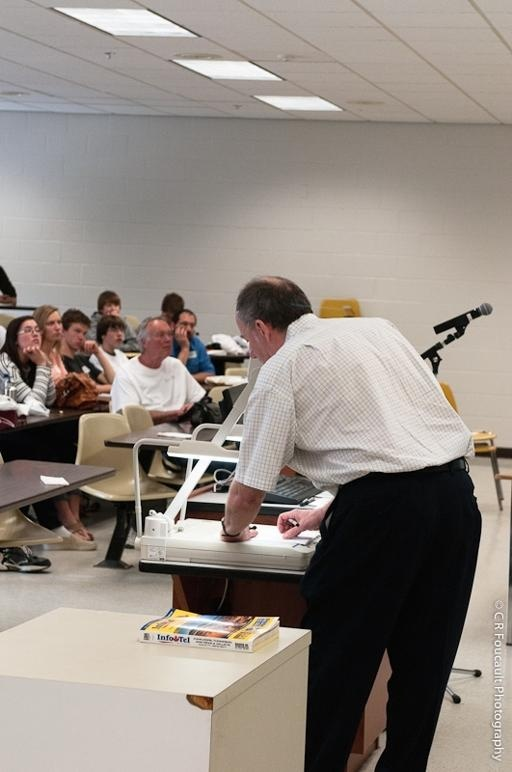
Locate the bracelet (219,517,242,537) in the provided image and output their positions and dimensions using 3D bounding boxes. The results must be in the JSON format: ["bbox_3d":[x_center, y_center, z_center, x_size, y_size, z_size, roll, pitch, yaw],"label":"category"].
[{"bbox_3d":[-0.067,0.341,1.575,0.036,0.043,0.018,-2,-6,-11],"label":"bracelet"}]

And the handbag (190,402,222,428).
[{"bbox_3d":[-0.347,0.190,4.434,0.206,0.172,0.182,0,-8,-8],"label":"handbag"}]

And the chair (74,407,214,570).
[{"bbox_3d":[-0.835,0.641,4.124,0.599,0.736,0.936,-2,-1,-10],"label":"chair"}]

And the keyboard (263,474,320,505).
[{"bbox_3d":[0.126,0.365,2.243,0.167,0.042,0.224,0,10,4],"label":"keyboard"}]
